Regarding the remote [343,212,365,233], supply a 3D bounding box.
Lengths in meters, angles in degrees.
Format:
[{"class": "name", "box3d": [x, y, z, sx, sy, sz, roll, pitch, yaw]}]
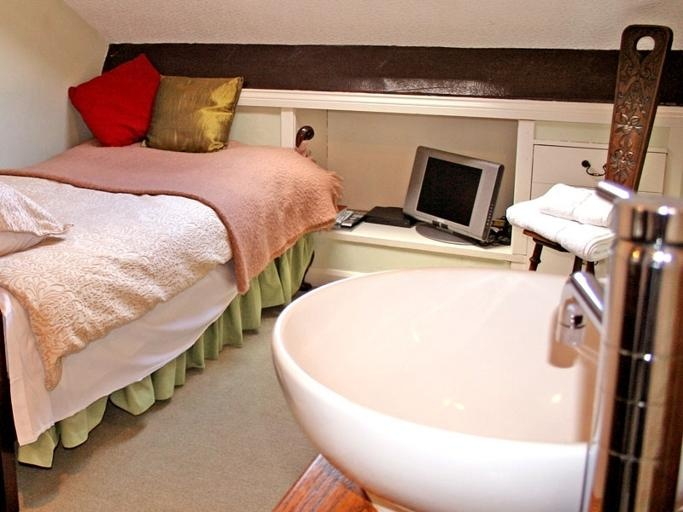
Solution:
[{"class": "remote", "box3d": [0.068, -0.196, 2.845, 0.079, 0.023, 0.132, 14, 33, 15]}]

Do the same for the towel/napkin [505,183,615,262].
[{"class": "towel/napkin", "box3d": [0.817, -0.122, 1.907, 0.291, 0.109, 0.300, -17, 32, -29]}]

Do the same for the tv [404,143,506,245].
[{"class": "tv", "box3d": [0.592, -0.312, 2.630, 0.473, 0.357, 0.062, 26, 19, 37]}]
